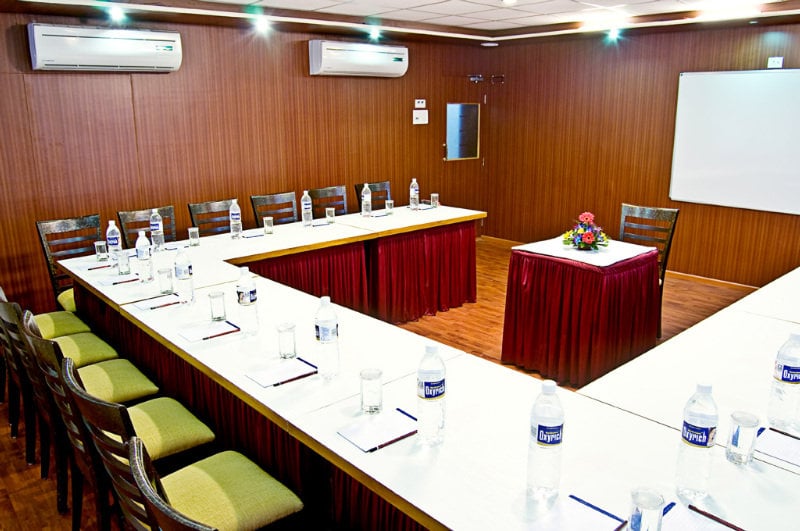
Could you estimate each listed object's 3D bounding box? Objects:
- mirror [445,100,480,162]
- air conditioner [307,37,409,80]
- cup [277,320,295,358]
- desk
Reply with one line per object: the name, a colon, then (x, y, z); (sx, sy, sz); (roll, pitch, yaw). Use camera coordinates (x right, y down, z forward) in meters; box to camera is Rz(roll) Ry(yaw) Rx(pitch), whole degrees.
mirror: (0.967, -2.196, 8.542); (0.939, 1.025, 0.051); (-11, 21, -36)
air conditioner: (-0.550, -2.755, 7.053); (1.352, 0.470, 0.266); (-16, 23, -30)
cup: (-0.627, 0.420, 3.008); (0.136, 0.152, 0.133); (-4, -1, 0)
desk: (0.030, 0.534, 3.122); (3.740, 0.757, 2.030); (8, 23, 30)
